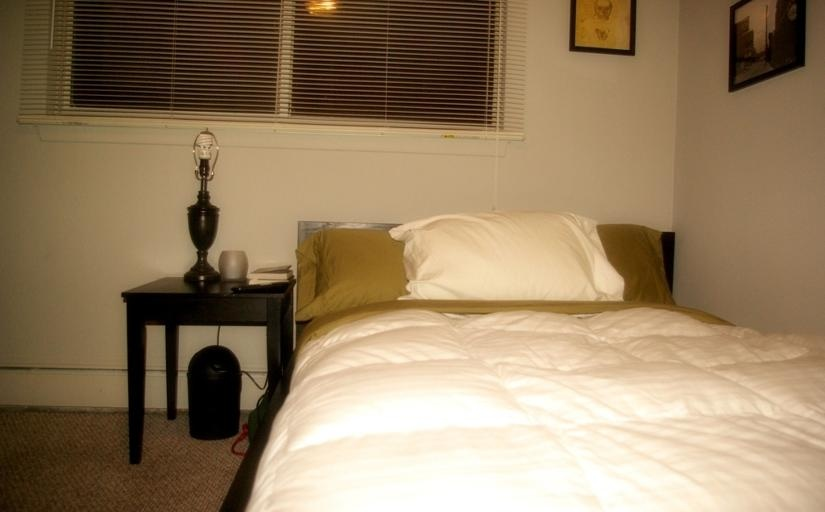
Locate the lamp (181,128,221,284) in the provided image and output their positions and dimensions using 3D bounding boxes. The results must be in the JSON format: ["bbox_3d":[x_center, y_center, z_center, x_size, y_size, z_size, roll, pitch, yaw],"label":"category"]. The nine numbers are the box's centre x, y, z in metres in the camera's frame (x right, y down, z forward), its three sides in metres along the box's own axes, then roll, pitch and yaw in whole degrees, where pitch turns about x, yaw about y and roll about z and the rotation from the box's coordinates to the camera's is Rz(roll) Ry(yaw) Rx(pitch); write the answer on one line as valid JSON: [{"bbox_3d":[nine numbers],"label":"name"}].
[{"bbox_3d":[-1.188,-0.290,3.645,0.197,0.872,0.475,-1,5,-17],"label":"lamp"}]

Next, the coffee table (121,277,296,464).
[{"bbox_3d":[-1.035,0.683,3.785,1.049,0.969,0.952,0,0,-2],"label":"coffee table"}]

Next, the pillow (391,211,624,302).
[{"bbox_3d":[0.480,0.010,3.243,0.786,0.206,0.563,1,34,-2],"label":"pillow"}]
